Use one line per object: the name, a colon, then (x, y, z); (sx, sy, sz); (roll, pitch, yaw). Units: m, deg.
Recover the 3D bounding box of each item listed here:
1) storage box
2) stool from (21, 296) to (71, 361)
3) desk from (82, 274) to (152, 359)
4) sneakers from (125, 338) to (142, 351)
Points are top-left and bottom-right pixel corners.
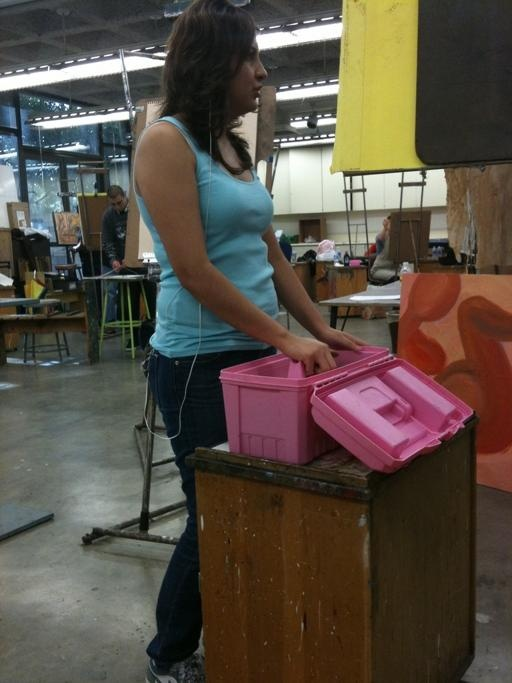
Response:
storage box: (0.095, 0.099, 1.020); (0.163, 0.147, 0.333); (3, 9, 34)
stool: (-2.387, -0.125, 6.687); (0.540, 0.602, 0.530); (-5, 1, 20)
desk: (-1.521, -0.265, 6.669); (0.851, 0.863, 0.859); (-6, 5, 6)
sneakers: (-1.404, 0.044, 6.686); (0.122, 0.168, 0.229); (-1, 0, 27)
